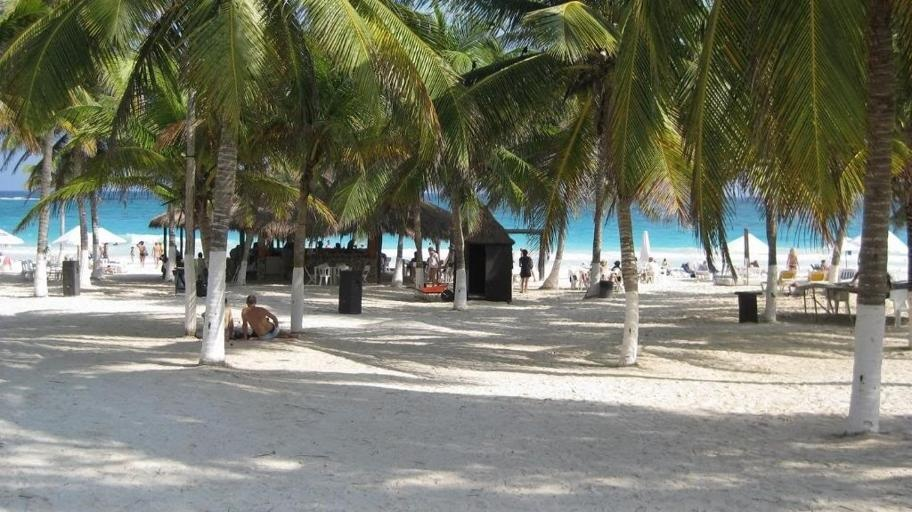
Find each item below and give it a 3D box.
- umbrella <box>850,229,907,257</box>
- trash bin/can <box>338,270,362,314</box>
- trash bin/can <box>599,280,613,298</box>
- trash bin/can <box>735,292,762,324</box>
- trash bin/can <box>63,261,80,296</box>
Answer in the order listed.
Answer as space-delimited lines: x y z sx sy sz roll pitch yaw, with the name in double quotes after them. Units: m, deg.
12.959 -0.353 23.303 1.561 0.736 1.609 1 3 39 "umbrella"
-3.007 1.013 21.572 0.639 1.186 0.683 -1 11 -12 "trash bin/can"
5.279 1.190 27.099 0.522 0.542 0.534 0 2 -5 "trash bin/can"
7.693 1.347 20.180 0.702 0.826 0.687 -3 5 8 "trash bin/can"
-12.295 0.693 24.358 0.404 1.128 0.586 -3 12 -22 "trash bin/can"
